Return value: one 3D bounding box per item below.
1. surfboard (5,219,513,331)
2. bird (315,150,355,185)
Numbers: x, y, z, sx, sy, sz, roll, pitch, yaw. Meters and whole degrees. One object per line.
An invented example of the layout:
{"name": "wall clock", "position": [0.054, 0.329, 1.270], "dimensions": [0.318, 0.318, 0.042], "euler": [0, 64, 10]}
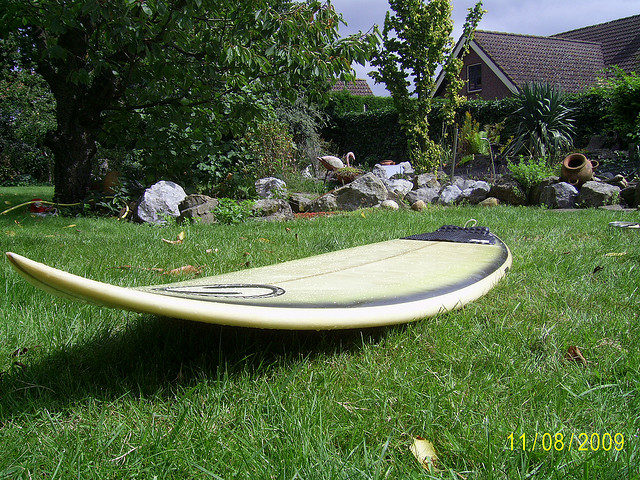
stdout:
{"name": "surfboard", "position": [0.001, 0.148, 2.622], "dimensions": [2.540, 0.397, 0.807], "euler": [-5, 9, -32]}
{"name": "bird", "position": [0.323, -1.572, 11.808], "dimensions": [0.879, 0.766, 0.308], "euler": [19, -5, -25]}
